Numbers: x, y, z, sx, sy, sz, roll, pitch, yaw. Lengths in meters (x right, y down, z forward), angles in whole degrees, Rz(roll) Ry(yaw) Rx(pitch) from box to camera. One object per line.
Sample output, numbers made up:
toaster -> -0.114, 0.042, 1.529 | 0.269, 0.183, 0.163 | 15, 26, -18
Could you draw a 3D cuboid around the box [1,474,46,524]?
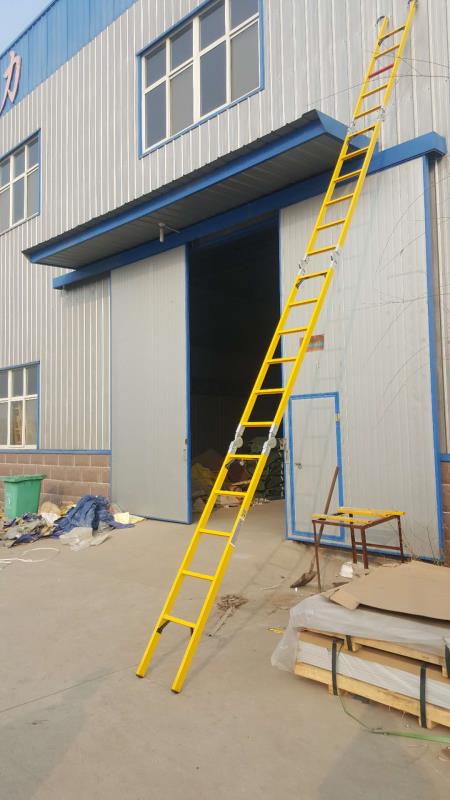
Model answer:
box -> -3.142, 1.433, 10.345 | 0.554, 0.927, 0.749 | -3, -4, 37
